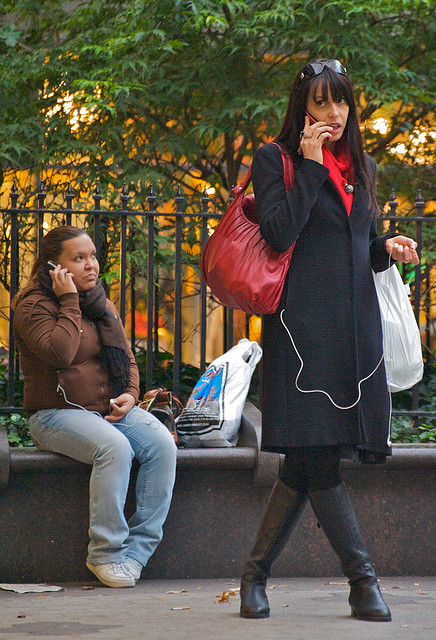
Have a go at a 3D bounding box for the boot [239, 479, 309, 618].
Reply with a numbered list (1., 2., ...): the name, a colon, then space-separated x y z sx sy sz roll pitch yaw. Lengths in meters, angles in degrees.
1. boot: 0.211 0.883 3.840 0.268 0.531 0.164 -1 -3 0

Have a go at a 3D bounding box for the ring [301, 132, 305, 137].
1. ring: 0.315 -0.703 3.746 0.011 0.014 0.005 0 -1 23

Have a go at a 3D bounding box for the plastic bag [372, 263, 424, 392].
1. plastic bag: 0.715 0.032 3.965 0.167 0.517 0.319 -2 -3 24

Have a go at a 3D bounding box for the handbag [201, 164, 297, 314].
1. handbag: 0.092 -0.301 3.807 0.219 0.564 0.347 2 -4 -41

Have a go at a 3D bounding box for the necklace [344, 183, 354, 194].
1. necklace: 0.493 -0.501 3.780 0.030 0.040 0.015 -36 -14 19

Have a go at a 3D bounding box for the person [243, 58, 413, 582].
1. person: 0.416 0.037 3.796 0.730 2.033 0.703 -1 1 -23

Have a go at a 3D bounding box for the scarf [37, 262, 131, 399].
1. scarf: -0.691 0.036 4.840 0.421 0.661 0.209 -1 -13 -41

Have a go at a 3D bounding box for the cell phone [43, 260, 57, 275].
1. cell phone: -0.798 -0.244 4.663 0.076 0.049 0.252 2 0 -15

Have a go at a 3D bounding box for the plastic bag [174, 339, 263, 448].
1. plastic bag: 0.002 0.412 5.283 0.265 0.536 0.406 25 -25 -22

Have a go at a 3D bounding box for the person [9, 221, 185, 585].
1. person: -0.581 0.379 4.682 0.759 1.701 0.607 0 -3 -13

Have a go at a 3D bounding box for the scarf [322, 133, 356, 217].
1. scarf: 0.462 -0.564 3.803 0.084 0.292 0.183 -15 -10 40
